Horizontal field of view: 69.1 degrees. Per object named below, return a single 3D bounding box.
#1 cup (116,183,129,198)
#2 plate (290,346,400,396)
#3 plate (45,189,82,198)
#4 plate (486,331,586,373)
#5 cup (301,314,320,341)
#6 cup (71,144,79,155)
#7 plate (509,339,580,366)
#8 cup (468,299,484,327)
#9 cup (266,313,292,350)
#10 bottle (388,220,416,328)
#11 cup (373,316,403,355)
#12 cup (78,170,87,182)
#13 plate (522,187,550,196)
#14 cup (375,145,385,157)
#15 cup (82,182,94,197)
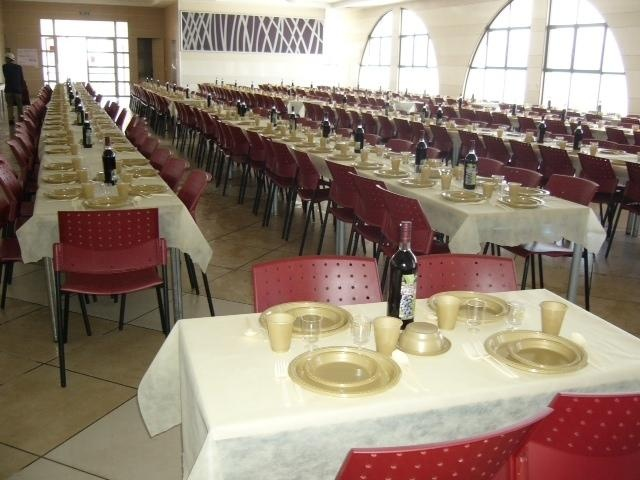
[{"bbox_3d":[-1.307,-0.339,3.099,0.079,0.094,0.081,-1,10,0],"label":"cup"},{"bbox_3d":[0.069,0.378,1.356,0.326,0.035,0.218,3,16,4],"label":"plate"},{"bbox_3d":[-1.746,-0.329,3.186,0.123,0.022,0.127,-7,27,-20],"label":"plate"},{"bbox_3d":[0.709,0.365,1.490,0.229,0.027,0.246,-3,10,4],"label":"plate"},{"bbox_3d":[-0.032,0.275,1.501,0.062,0.112,0.069,-1,24,-3],"label":"cup"},{"bbox_3d":[-2.406,-0.911,4.586,0.087,0.097,0.091,1,5,0],"label":"cup"},{"bbox_3d":[0.725,0.362,1.514,0.106,0.016,0.113,0,18,14],"label":"plate"},{"bbox_3d":[0.551,0.259,1.656,0.050,0.098,0.063,6,15,19],"label":"cup"},{"bbox_3d":[-0.126,0.296,1.497,0.106,0.120,0.107,-2,-5,0],"label":"cup"},{"bbox_3d":[0.285,0.112,1.615,0.100,0.390,0.307,4,15,12],"label":"bottle"},{"bbox_3d":[0.204,0.290,1.489,0.097,0.117,0.101,2,12,0],"label":"cup"},{"bbox_3d":[-1.655,-0.460,3.260,0.069,0.083,0.070,2,12,0],"label":"cup"},{"bbox_3d":[1.627,-0.372,3.514,0.109,0.017,0.116,-5,23,-10],"label":"plate"},{"bbox_3d":[0.666,-0.988,5.110,0.115,0.133,0.118,1,23,0],"label":"cup"},{"bbox_3d":[-1.526,-0.337,3.059,0.079,0.095,0.082,3,18,-1],"label":"cup"}]
